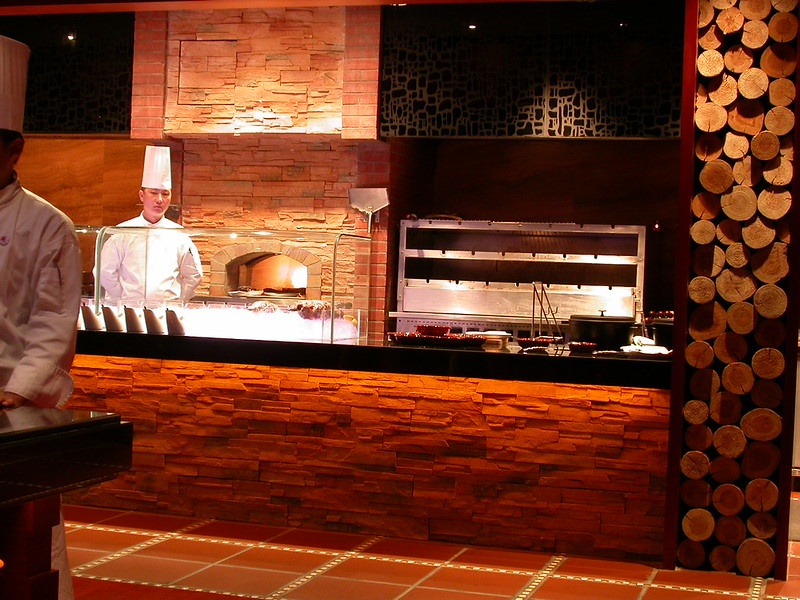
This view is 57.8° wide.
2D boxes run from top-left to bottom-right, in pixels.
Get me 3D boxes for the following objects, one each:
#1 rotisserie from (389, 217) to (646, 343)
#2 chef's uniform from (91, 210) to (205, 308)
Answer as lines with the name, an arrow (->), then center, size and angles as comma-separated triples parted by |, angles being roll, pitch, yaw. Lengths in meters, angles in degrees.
rotisserie -> 1.066, -0.118, 6.958 | 2.516, 1.239, 0.869 | 0, 12, 18
chef's uniform -> -1.566, -0.216, 4.575 | 0.553, 0.502, 0.512 | 2, 3, -5
